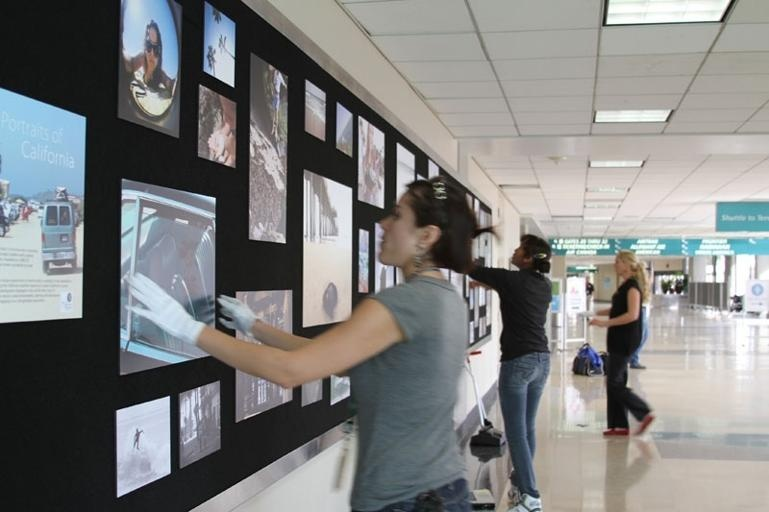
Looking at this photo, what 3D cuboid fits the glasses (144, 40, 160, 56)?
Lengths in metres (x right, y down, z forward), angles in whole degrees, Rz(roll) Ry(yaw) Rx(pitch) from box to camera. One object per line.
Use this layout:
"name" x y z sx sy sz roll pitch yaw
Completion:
"glasses" -0.889 -0.793 2.037 0.042 0.018 0.042 -8 -16 38

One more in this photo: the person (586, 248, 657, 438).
"person" 2.551 0.968 5.692 0.607 2.073 1.084 1 -1 27
